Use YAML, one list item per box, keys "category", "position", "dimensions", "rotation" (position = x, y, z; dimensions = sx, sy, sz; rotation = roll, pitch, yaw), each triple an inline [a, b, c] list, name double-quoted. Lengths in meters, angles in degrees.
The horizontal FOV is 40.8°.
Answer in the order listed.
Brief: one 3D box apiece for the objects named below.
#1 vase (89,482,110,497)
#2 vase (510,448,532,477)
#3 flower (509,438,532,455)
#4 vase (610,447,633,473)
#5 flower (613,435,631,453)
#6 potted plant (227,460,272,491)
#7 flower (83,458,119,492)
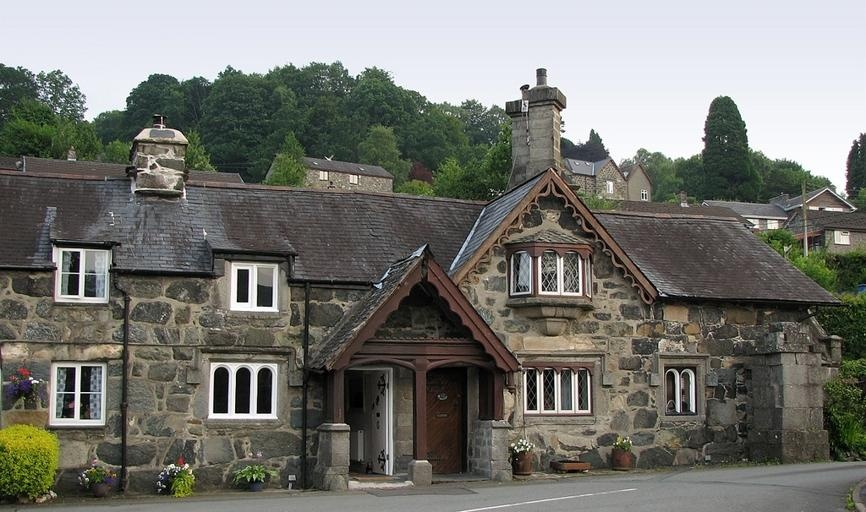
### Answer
- category: "vase"
  position: [-12.268, 8.582, 42.625]
  dimensions: [0.596, 0.426, 0.608]
  rotation: [-4, -10, 35]
- category: "vase"
  position: [3.449, 8.104, 45.338]
  dimensions: [0.959, 0.774, 0.897]
  rotation: [2, -18, -4]
- category: "flower"
  position: [3.394, 7.468, 45.507]
  dimensions: [0.678, 0.375, 0.618]
  rotation: [0, -1, 2]
- category: "vase"
  position: [7.473, 8.120, 46.443]
  dimensions: [0.903, 0.692, 0.888]
  rotation: [-1, -6, 8]
- category: "flower"
  position: [7.541, 7.503, 46.282]
  dimensions: [0.653, 0.419, 0.600]
  rotation: [3, -3, -3]
- category: "potted plant"
  position: [-6.852, 8.243, 43.638]
  dimensions: [1.187, 0.798, 1.224]
  rotation: [1, -12, -2]
- category: "flower"
  position: [-12.362, 8.107, 42.983]
  dimensions: [1.238, 1.128, 1.204]
  rotation: [2, -5, -10]
